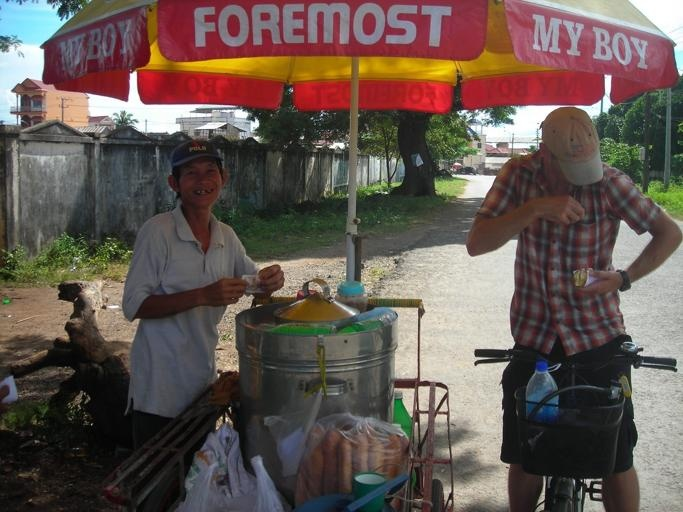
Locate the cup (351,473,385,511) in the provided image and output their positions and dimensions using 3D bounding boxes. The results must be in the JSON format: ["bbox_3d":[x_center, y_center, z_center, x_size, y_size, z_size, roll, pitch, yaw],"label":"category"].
[{"bbox_3d":[0.126,1.188,3.652,0.187,0.153,0.198,0,4,0],"label":"cup"}]

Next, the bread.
[{"bbox_3d":[0.060,1.046,3.776,0.436,0.513,0.468,3,-7,11],"label":"bread"}]

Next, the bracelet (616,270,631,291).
[{"bbox_3d":[1.559,0.147,4.012,0.063,0.125,0.117,1,10,10],"label":"bracelet"}]

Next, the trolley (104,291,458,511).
[{"bbox_3d":[-0.198,0.849,4.477,1.159,1.389,1.899,0,-4,9],"label":"trolley"}]

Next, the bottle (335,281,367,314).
[{"bbox_3d":[0.054,0.253,4.252,0.141,0.150,0.152,0,5,-6],"label":"bottle"}]

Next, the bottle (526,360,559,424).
[{"bbox_3d":[1.050,0.711,3.777,0.159,0.341,0.175,-7,14,5],"label":"bottle"}]
